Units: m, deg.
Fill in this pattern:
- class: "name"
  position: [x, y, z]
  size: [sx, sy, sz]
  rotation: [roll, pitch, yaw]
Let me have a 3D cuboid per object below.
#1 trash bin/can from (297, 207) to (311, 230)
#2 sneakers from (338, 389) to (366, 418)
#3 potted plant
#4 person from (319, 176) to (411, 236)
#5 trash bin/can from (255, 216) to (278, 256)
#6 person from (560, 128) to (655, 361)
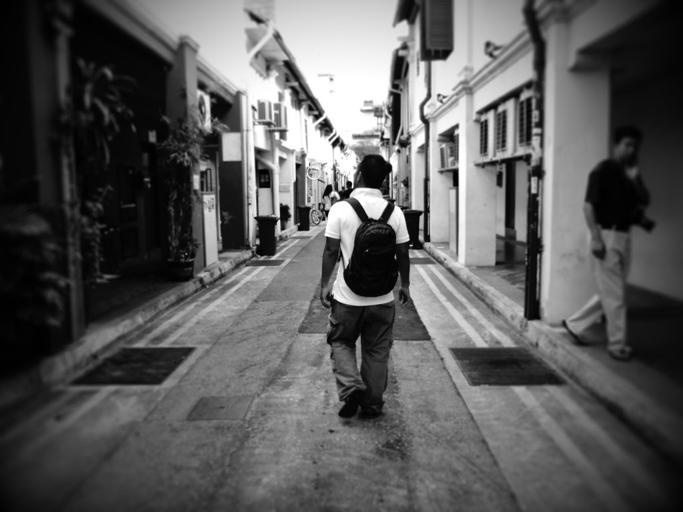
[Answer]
- class: "trash bin/can"
  position: [-1.805, -1.844, 24.702]
  size: [0.565, 1.136, 0.895]
  rotation: [-1, 9, -5]
- class: "sneakers"
  position: [0.095, 1.352, 4.819]
  size: [0.228, 0.328, 0.259]
  rotation: [-3, 10, -14]
- class: "potted plant"
  position: [-3.386, -1.290, 10.935]
  size: [0.857, 3.253, 1.597]
  rotation: [-4, 9, -21]
- class: "person"
  position: [0.236, -0.365, 4.926]
  size: [0.673, 0.957, 0.442]
  rotation: [1, 0, -7]
- class: "trash bin/can"
  position: [-2.253, -0.598, 15.400]
  size: [0.639, 1.192, 0.661]
  rotation: [-2, -9, -10]
- class: "person"
  position: [3.015, -0.198, 5.801]
  size: [0.716, 2.483, 0.627]
  rotation: [8, 12, 44]
